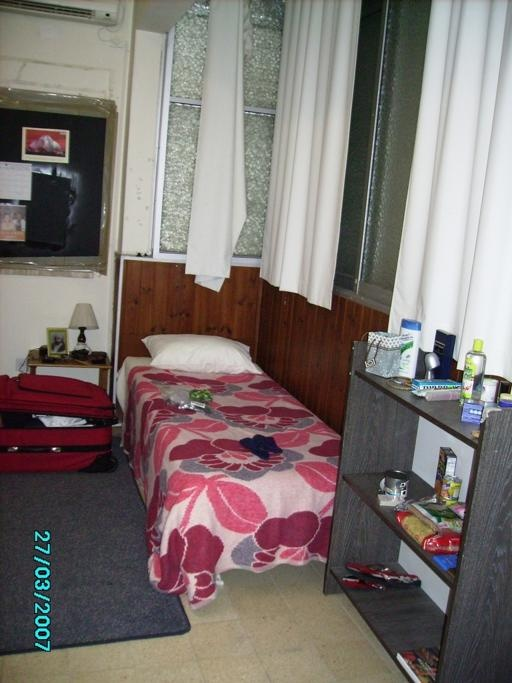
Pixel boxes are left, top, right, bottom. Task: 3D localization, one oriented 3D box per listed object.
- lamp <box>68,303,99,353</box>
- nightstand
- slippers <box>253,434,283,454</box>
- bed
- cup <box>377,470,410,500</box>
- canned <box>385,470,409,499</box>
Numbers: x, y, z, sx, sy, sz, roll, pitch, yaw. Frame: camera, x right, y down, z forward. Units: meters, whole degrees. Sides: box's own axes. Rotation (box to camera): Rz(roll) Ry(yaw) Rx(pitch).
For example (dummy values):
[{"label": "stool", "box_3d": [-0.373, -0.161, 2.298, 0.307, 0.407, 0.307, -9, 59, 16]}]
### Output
[{"label": "lamp", "box_3d": [-1.191, -0.102, 3.462, 0.189, 0.325, 0.292, 4, 5, -20]}, {"label": "nightstand", "box_3d": [-1.244, 0.128, 3.396, 0.458, 0.437, 0.353, -1, 12, -9]}, {"label": "slippers", "box_3d": [0.054, 0.434, 2.121, 0.048, 0.059, 0.136, 3, -1, -27]}, {"label": "bed", "box_3d": [-0.101, 0.622, 2.366, 0.856, 0.619, 1.277, 4, 5, -18]}, {"label": "cup", "box_3d": [0.447, 0.443, 1.623, 0.091, 0.100, 0.090, 0, 7, 0]}, {"label": "canned", "box_3d": [0.478, 0.456, 1.657, 0.084, 0.089, 0.079, 3, 8, 27]}]
